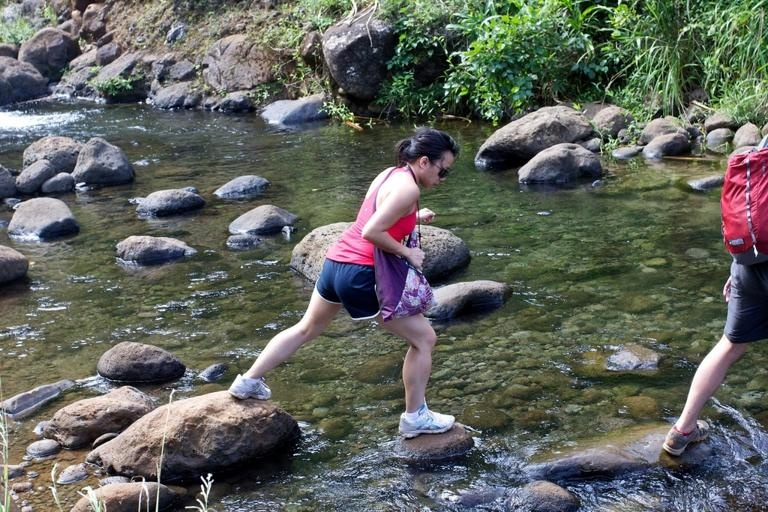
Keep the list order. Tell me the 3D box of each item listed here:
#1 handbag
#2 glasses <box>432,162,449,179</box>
[{"bbox_3d":[0.161,0.238,6.436,0.474,0.636,0.316,-9,27,2],"label":"handbag"},{"bbox_3d":[0.468,-0.761,6.555,0.048,0.132,0.145,-43,-27,21],"label":"glasses"}]
